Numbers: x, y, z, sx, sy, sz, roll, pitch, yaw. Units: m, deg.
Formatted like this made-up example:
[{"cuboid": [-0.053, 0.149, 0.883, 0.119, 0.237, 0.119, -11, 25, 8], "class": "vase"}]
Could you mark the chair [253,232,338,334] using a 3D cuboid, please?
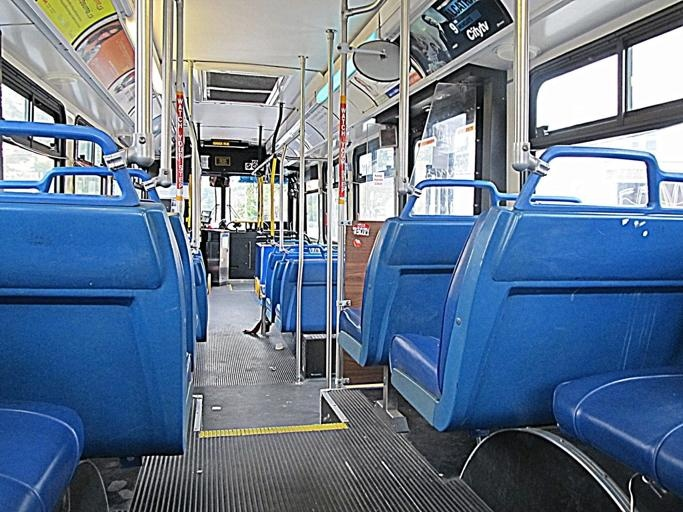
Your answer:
[{"cuboid": [-0.647, 0.577, 5.783, 0.699, 1.436, 2.493, 0, 8, -13], "class": "chair"}]
